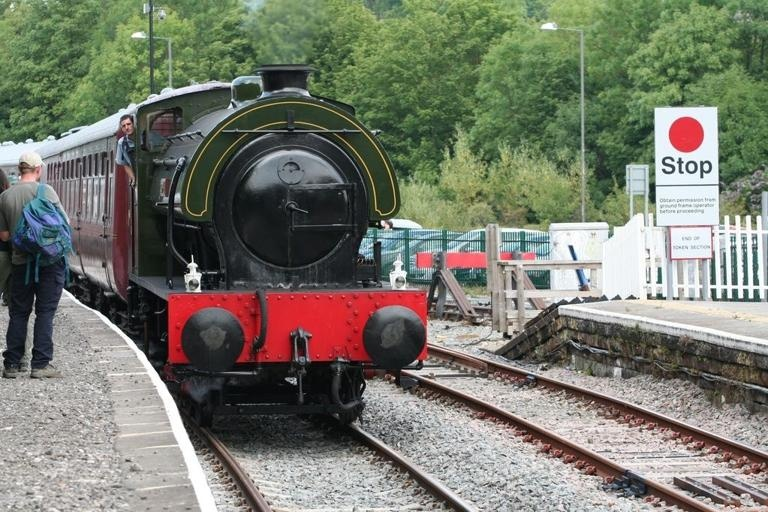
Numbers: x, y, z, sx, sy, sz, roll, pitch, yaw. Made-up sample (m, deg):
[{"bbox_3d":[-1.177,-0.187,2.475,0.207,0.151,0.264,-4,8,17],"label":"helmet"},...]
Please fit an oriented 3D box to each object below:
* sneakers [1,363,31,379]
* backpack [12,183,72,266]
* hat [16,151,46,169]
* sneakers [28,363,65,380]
[{"bbox_3d":[-4.478,1.384,10.175,0.125,0.146,0.338,0,4,-4],"label":"sneakers"},{"bbox_3d":[-4.042,-0.328,9.920,0.618,0.992,0.328,-6,10,-23],"label":"backpack"},{"bbox_3d":[-4.215,-1.153,10.175,0.225,0.127,0.320,2,6,-1],"label":"hat"},{"bbox_3d":[-4.105,1.400,10.253,0.407,0.201,0.142,-1,5,-18],"label":"sneakers"}]
